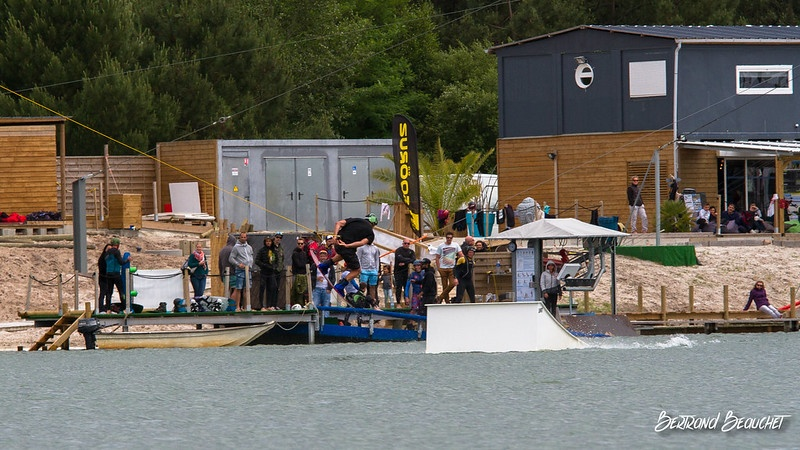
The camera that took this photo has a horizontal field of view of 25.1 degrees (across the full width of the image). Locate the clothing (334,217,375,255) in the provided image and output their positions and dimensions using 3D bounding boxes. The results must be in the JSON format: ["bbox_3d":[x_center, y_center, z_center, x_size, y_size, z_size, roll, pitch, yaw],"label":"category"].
[{"bbox_3d":[-2.091,0.484,81.107,1.683,1.429,0.566,-1,0,-3],"label":"clothing"}]

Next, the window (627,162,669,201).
[{"bbox_3d":[13.193,-2.288,94.719,2.366,2.142,0.236,1,5,16],"label":"window"}]

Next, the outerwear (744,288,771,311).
[{"bbox_3d":[17.320,3.666,86.939,1.282,0.781,0.436,0,2,-17],"label":"outerwear"}]

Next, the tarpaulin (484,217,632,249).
[{"bbox_3d":[7.159,0.307,83.441,2.931,1.961,6.422,0,-1,-22],"label":"tarpaulin"}]

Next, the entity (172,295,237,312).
[{"bbox_3d":[-8.871,3.659,81.723,2.772,1.077,0.937,-1,-3,-1],"label":"entity"}]

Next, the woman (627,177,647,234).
[{"bbox_3d":[12.296,-1.044,92.932,1.121,2.936,0.999,-1,-5,-6],"label":"woman"}]

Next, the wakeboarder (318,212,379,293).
[{"bbox_3d":[-2.353,1.245,81.388,1.944,3.815,1.896,0,0,44],"label":"wakeboarder"}]

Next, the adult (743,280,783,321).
[{"bbox_3d":[17.643,3.694,86.114,1.536,1.670,2.631,-13,21,-21],"label":"adult"}]

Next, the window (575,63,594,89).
[{"bbox_3d":[10.055,-8.146,97.386,1.502,1.577,0.228,2,0,25],"label":"window"}]
